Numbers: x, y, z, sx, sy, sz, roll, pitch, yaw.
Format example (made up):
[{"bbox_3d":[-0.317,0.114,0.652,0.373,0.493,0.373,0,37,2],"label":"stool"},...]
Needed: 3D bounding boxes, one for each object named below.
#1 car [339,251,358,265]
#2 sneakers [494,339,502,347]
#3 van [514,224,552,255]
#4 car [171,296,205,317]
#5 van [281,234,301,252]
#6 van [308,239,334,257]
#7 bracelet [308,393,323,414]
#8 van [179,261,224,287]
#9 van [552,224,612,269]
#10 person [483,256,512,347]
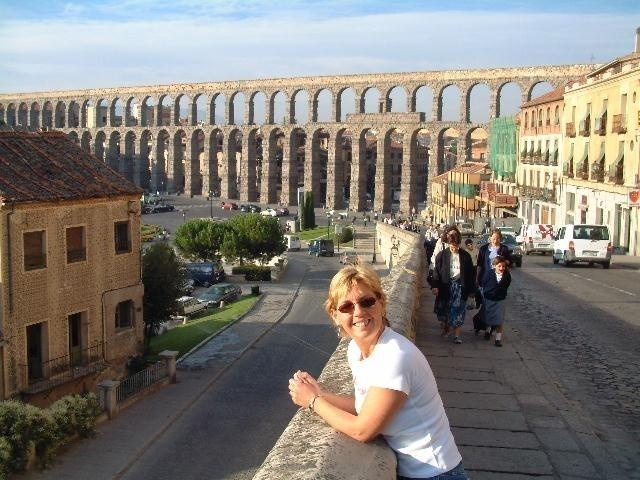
[{"bbox_3d":[2.819,1.568,60.396,1.296,1.022,3.057,0,8,0],"label":"car"},{"bbox_3d":[3.184,1.818,10.636,0.124,0.104,0.321,6,5,14],"label":"sneakers"},{"bbox_3d":[12.739,-0.118,35.216,1.484,1.381,2.620,0,9,2],"label":"van"},{"bbox_3d":[-8.312,4.267,38.677,1.395,1.015,2.966,1,6,11],"label":"car"},{"bbox_3d":[-3.027,0.487,70.301,1.306,1.243,2.136,-2,9,-11],"label":"van"},{"bbox_3d":[0.155,0.863,67.829,1.791,1.216,2.397,-1,6,-22],"label":"van"},{"bbox_3d":[-0.046,1.054,3.861,0.107,0.105,0.103,-12,-20,-25],"label":"bracelet"},{"bbox_3d":[-9.466,2.743,50.493,3.904,1.850,2.398,2,3,2],"label":"van"},{"bbox_3d":[11.857,0.114,27.694,1.580,1.311,2.687,0,4,3],"label":"van"},{"bbox_3d":[3.195,1.078,10.906,0.451,1.503,0.799,6,5,17],"label":"person"}]
